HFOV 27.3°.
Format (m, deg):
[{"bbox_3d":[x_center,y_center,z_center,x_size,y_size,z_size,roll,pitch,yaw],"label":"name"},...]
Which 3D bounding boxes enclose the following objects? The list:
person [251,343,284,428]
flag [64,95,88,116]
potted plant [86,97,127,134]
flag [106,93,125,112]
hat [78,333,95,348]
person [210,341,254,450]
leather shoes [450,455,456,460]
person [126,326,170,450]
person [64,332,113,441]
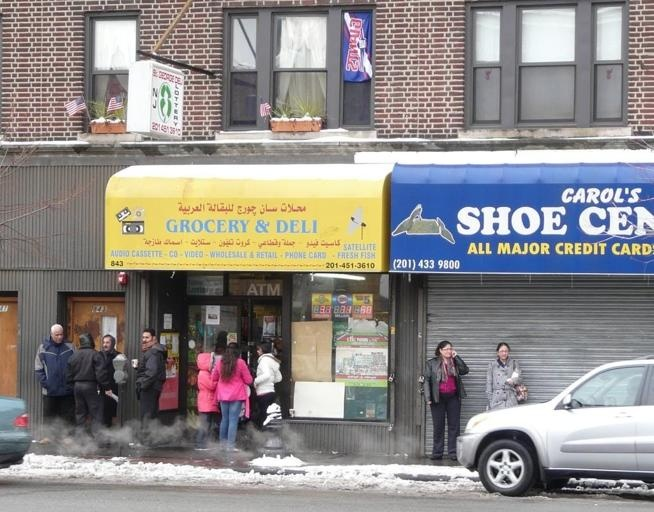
[{"bbox_3d":[-1.091,2.390,24.646,0.503,1.629,0.744,0,6,-4],"label":"person"},{"bbox_3d":[-4.740,-2.819,25.273,0.364,0.386,0.116,-32,-11,5],"label":"flag"},{"bbox_3d":[-4.137,-2.652,25.354,0.799,0.833,0.599,-2,2,-18],"label":"potted plant"},{"bbox_3d":[-3.979,-2.896,25.319,0.340,0.370,0.030,-2,3,15],"label":"flag"},{"bbox_3d":[-4.356,1.521,24.302,0.227,0.274,0.261,1,7,5],"label":"hat"},{"bbox_3d":[-1.703,2.511,23.947,0.725,1.882,0.621,1,6,4],"label":"person"},{"bbox_3d":[2.226,3.534,23.605,0.124,0.099,0.091,3,-8,-1],"label":"leather shoes"},{"bbox_3d":[-3.214,2.411,24.382,0.559,2.187,0.684,-2,6,-25],"label":"person"},{"bbox_3d":[-4.301,2.325,24.258,0.715,1.835,0.423,-1,6,-11],"label":"person"}]
